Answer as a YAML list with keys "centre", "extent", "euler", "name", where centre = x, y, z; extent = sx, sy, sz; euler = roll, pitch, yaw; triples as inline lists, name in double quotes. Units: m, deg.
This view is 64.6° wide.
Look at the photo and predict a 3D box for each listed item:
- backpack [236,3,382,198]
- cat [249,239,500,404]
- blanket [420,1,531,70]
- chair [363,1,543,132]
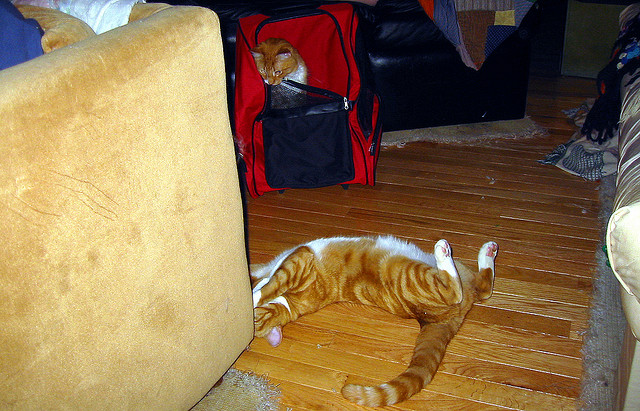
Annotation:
- centre: [-0.061, -0.431, 2.170]
  extent: [0.646, 0.840, 0.459]
  euler: [-9, 43, -1]
  name: "backpack"
- centre: [0.202, 0.265, 1.710]
  extent: [0.596, 0.258, 0.742]
  euler: [21, 45, 34]
  name: "cat"
- centre: [0.774, -0.868, 2.625]
  extent: [0.379, 0.349, 0.136]
  euler: [-4, 17, -1]
  name: "blanket"
- centre: [0.684, -0.695, 2.899]
  extent: [0.811, 0.742, 0.849]
  euler: [-2, 38, 6]
  name: "chair"
